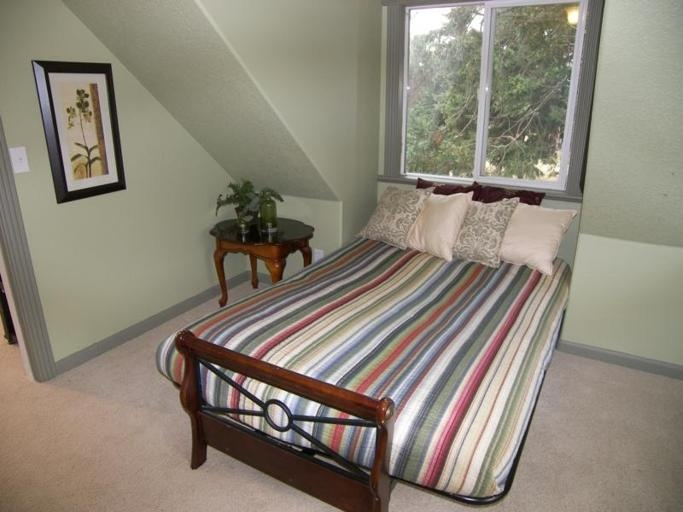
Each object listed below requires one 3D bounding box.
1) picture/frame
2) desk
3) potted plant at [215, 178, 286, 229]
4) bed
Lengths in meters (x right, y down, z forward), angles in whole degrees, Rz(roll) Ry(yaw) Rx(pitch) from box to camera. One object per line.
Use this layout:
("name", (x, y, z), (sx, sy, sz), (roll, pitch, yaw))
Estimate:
("picture/frame", (-1.765, -0.858, 3.411), (0.075, 1.062, 0.716), (11, 23, 31))
("desk", (-0.655, 0.098, 4.372), (0.840, 0.735, 0.681), (11, 24, 20))
("potted plant", (-0.751, -0.414, 4.175), (0.520, 0.374, 0.525), (-6, -1, -34))
("bed", (0.314, 0.412, 3.188), (1.865, 1.298, 2.357), (11, 19, 34))
